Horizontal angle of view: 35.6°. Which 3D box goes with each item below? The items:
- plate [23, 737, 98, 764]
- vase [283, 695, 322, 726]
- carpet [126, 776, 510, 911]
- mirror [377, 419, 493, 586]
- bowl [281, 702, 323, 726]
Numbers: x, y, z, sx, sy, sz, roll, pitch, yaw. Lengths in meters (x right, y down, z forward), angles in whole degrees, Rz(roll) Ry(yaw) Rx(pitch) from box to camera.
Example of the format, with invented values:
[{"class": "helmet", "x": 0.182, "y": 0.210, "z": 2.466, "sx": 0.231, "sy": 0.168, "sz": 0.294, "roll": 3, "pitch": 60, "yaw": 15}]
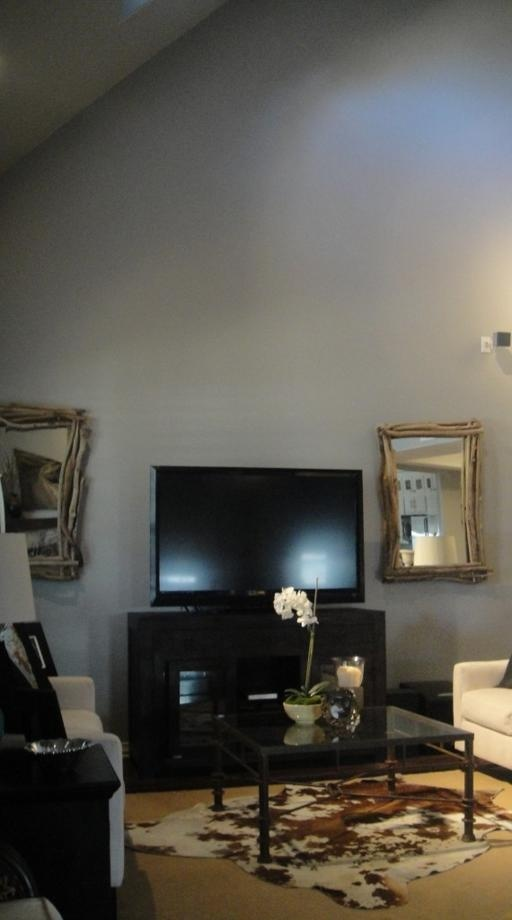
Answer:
[{"class": "plate", "x": -0.488, "y": 0.752, "z": 2.075, "sx": 0.201, "sy": 0.050, "sz": 0.151, "roll": -6, "pitch": -9, "yaw": 41}, {"class": "vase", "x": 0.188, "y": 0.994, "z": 3.191, "sx": 0.116, "sy": 0.073, "sz": 0.122, "roll": -7, "pitch": -12, "yaw": 21}, {"class": "carpet", "x": 0.280, "y": 1.414, "z": 3.120, "sx": 1.273, "sy": 0.043, "sz": 1.359, "roll": -5, "pitch": -9, "yaw": 35}, {"class": "mirror", "x": 1.075, "y": 0.276, "z": 4.889, "sx": 0.944, "sy": 1.313, "sz": 0.163, "roll": 1, "pitch": -7, "yaw": -21}, {"class": "bowl", "x": 0.187, "y": 1.014, "z": 3.214, "sx": 0.101, "sy": 0.060, "sz": 0.106, "roll": -1, "pitch": -10, "yaw": 0}]
